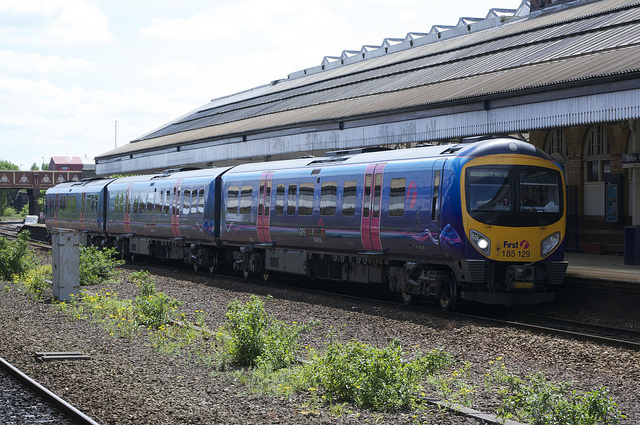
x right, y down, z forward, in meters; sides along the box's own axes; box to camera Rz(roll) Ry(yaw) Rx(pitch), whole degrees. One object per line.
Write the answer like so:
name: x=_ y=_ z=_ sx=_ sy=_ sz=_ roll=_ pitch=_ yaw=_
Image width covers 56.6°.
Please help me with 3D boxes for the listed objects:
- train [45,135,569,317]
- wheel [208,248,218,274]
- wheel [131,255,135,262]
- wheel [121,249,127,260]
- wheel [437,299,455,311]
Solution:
train: x=-5.696 y=0.214 z=28.899 sx=4.070 sy=5.095 sz=35.613 roll=0 pitch=1 yaw=-42
wheel: x=-4.553 y=2.155 z=25.990 sx=0.197 sy=0.877 sz=0.841 roll=1 pitch=3 yaw=-15
wheel: x=-10.274 y=2.504 z=32.799 sx=0.300 sy=0.320 sz=0.551 roll=2 pitch=-5 yaw=-11
wheel: x=-10.720 y=2.307 z=32.790 sx=0.473 sy=0.516 sz=0.120 roll=-1 pitch=11 yaw=10
wheel: x=3.560 y=2.558 z=16.651 sx=0.269 sy=0.354 sz=0.609 roll=0 pitch=1 yaw=-11
